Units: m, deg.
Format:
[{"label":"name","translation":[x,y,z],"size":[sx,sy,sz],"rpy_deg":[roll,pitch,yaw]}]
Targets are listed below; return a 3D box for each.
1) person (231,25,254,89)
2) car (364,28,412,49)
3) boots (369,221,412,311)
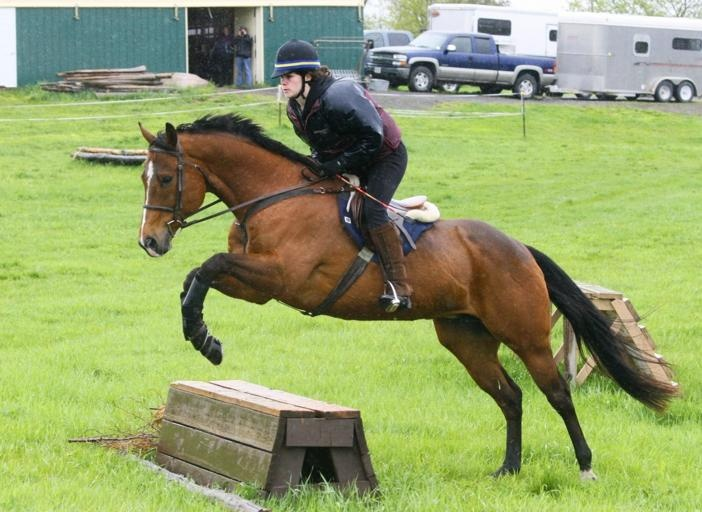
[{"label":"person","translation":[-3.224,-5.985,30.101],"size":[0.559,1.739,1.174],"rpy_deg":[0,11,-6]},{"label":"car","translation":[1.421,-7.761,35.558],"size":[1.793,0.934,1.044],"rpy_deg":[-2,11,-24]},{"label":"boots","translation":[0.462,0.124,11.823],"size":[0.328,1.020,0.388],"rpy_deg":[-6,13,-35]}]
